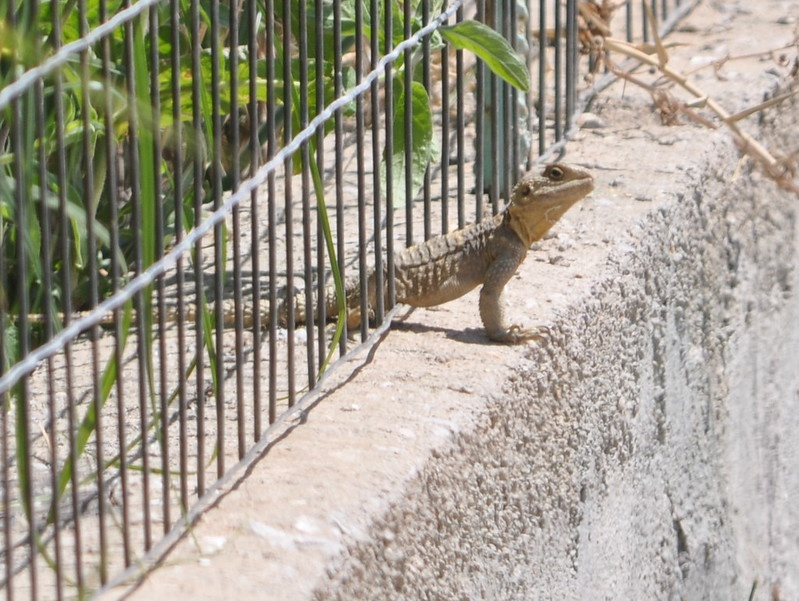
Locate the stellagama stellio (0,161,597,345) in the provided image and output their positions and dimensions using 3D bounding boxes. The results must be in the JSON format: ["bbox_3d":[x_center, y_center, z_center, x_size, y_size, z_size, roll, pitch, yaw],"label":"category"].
[{"bbox_3d":[-0.325,-0.216,6.732,2.255,0.706,0.575,2,0,13],"label":"stellagama stellio"}]
